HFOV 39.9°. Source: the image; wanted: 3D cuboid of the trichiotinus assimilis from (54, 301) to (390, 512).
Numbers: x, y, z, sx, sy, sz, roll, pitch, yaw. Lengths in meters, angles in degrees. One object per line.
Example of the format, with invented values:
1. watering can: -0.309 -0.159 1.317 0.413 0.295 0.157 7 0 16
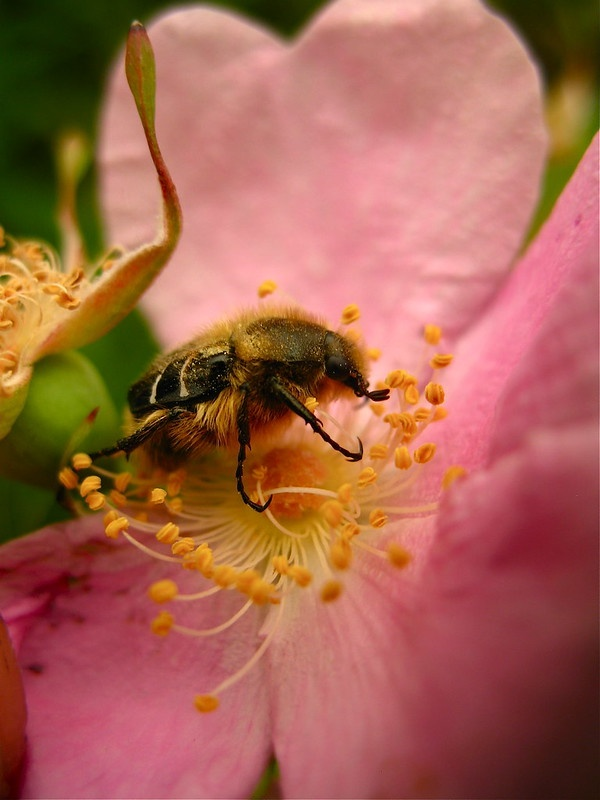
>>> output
1. trichiotinus assimilis: -0.045 -0.010 0.763 0.272 0.130 0.188 -4 15 19
